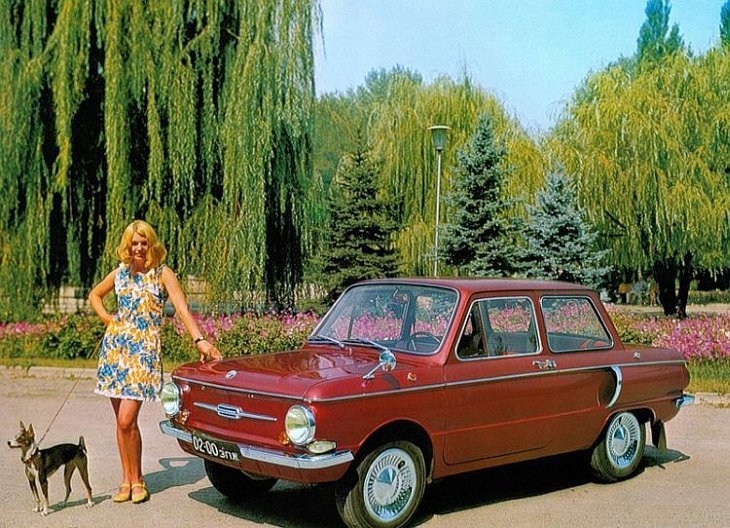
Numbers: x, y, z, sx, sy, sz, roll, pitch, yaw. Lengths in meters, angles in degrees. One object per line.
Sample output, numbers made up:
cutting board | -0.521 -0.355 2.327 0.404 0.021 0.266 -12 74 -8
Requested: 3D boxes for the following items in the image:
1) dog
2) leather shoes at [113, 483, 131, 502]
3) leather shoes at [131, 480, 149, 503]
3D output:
dog | -3.360 2.181 9.227 0.813 0.989 0.449 -3 6 -23
leather shoes | -2.653 2.572 9.405 0.104 0.145 0.324 0 -10 -1
leather shoes | -2.463 2.544 9.412 0.198 0.219 0.165 -2 7 -22
